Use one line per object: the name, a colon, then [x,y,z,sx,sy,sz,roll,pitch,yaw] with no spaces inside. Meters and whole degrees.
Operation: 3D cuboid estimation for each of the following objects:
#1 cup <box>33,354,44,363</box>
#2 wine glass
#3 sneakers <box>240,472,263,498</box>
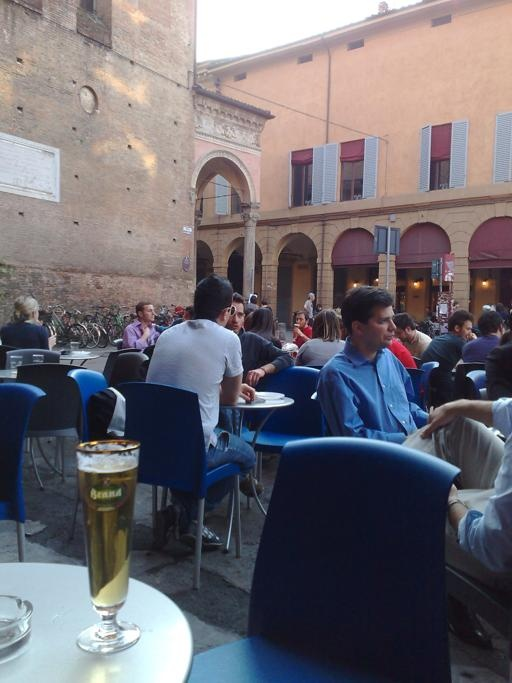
cup: [-1.856,0.142,5.062,0.073,0.097,0.098,-2,-3,39]
wine glass: [-0.205,0.268,0.832,0.102,0.272,0.186,-6,8,-8]
sneakers: [-0.032,0.967,4.034,0.112,0.143,0.365,3,1,9]
